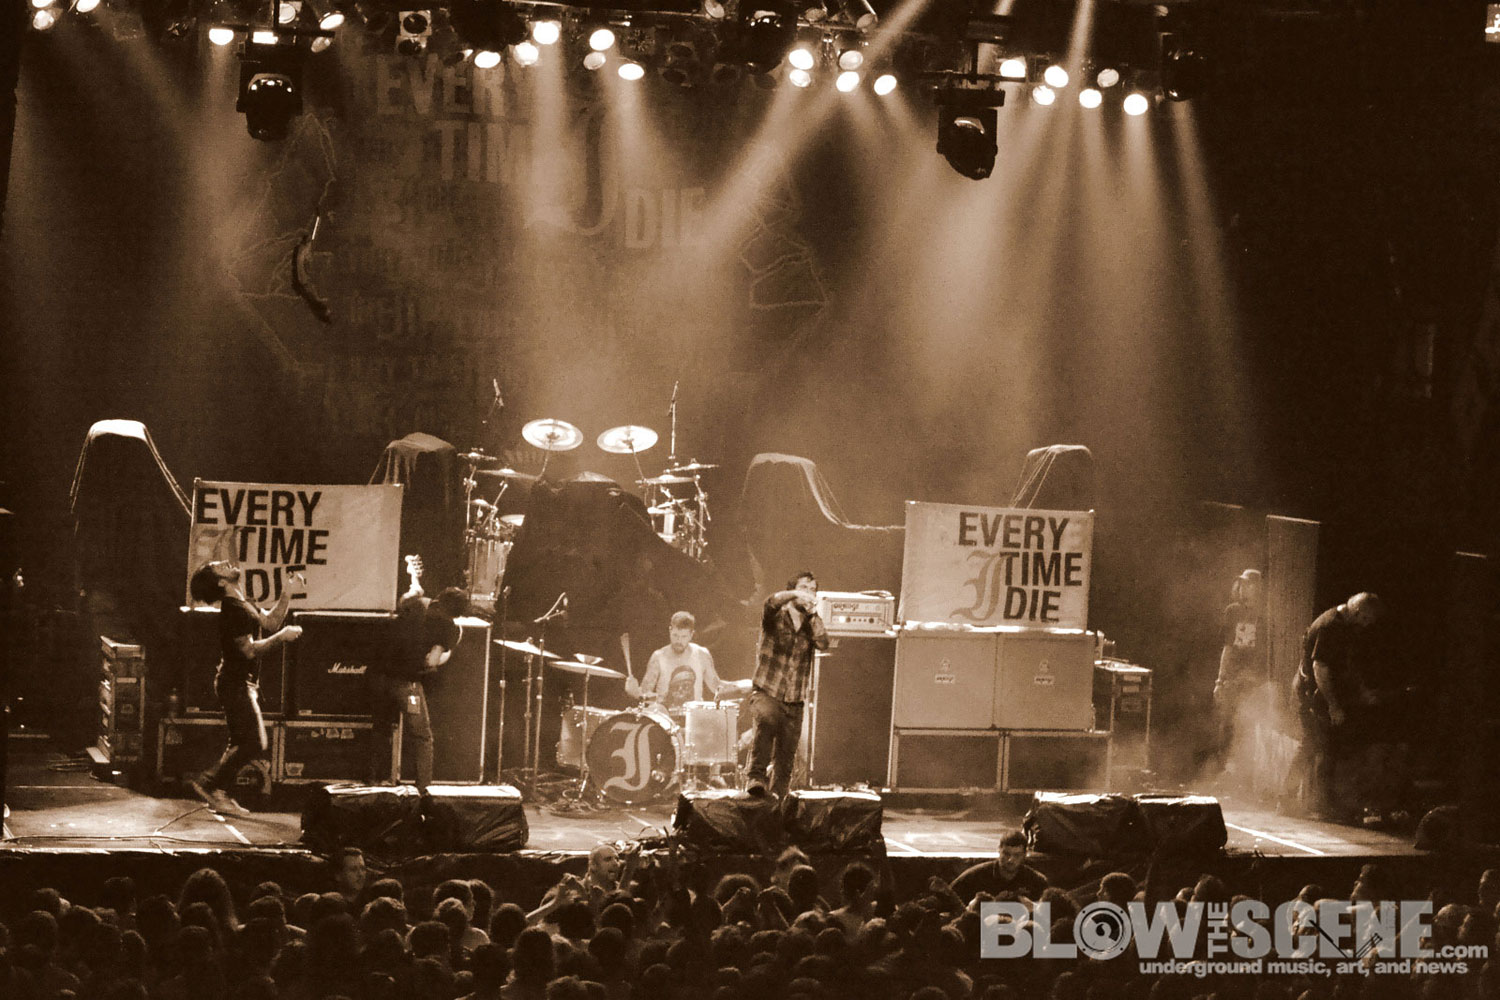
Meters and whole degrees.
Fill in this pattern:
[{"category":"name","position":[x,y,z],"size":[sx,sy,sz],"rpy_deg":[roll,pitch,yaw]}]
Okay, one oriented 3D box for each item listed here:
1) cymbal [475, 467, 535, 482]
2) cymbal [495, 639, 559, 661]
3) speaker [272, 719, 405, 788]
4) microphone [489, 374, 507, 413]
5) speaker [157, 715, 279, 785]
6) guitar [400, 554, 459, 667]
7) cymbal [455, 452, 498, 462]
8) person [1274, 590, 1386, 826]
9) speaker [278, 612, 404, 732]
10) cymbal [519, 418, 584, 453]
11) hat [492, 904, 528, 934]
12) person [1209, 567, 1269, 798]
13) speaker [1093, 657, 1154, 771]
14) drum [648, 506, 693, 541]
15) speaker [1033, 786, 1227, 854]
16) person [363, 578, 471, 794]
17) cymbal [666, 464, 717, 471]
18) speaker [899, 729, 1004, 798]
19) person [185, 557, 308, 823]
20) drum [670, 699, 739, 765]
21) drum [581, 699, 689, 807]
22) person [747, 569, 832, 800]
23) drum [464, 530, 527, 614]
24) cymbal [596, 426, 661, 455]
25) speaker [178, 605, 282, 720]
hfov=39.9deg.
[{"category":"cymbal","position":[-2.714,-0.275,23.180],"size":[0.659,0.157,0.512],"rpy_deg":[1,1,-29]},{"category":"cymbal","position":[-2.336,1.560,21.426],"size":[0.656,0.219,0.520],"rpy_deg":[2,1,22]},{"category":"speaker","position":[-4.184,2.502,20.572],"size":[1.305,0.614,0.685],"rpy_deg":[1,-5,-11]},{"category":"microphone","position":[-2.862,-1.204,23.660],"size":[0.174,0.354,0.038],"rpy_deg":[2,2,-10]},{"category":"speaker","position":[-5.439,2.356,20.927],"size":[1.170,0.750,0.658],"rpy_deg":[1,-6,-5]},{"category":"guitar","position":[-3.229,1.162,20.890],"size":[0.665,1.100,1.063],"rpy_deg":[0,-6,11]},{"category":"cymbal","position":[-3.044,-0.477,23.290],"size":[0.509,0.119,0.299],"rpy_deg":[1,1,-25]},{"category":"person","position":[6.002,2.121,21.417],"size":[0.860,2.311,0.620],"rpy_deg":[2,2,14]},{"category":"speaker","position":[-4.153,1.866,20.606],"size":[1.451,1.379,0.982],"rpy_deg":[2,3,-12]},{"category":"cymbal","position":[-2.257,-0.722,23.662],"size":[0.707,0.392,0.443],"rpy_deg":[2,1,-7]},{"category":"hat","position":[-1.960,3.446,16.902],"size":[0.283,0.249,0.298],"rpy_deg":[2,1,-6]},{"category":"person","position":[5.294,1.891,22.603],"size":[0.527,2.211,0.374],"rpy_deg":[2,2,13]},{"category":"speaker","position":[3.915,2.308,22.024],"size":[0.465,1.183,1.297],"rpy_deg":[1,-1,5]},{"category":"drum","position":[-0.901,0.302,23.481],"size":[0.414,0.355,0.395],"rpy_deg":[3,-5,-29]},{"category":"speaker","position":[3.419,3.040,19.368],"size":[1.146,0.350,0.787],"rpy_deg":[0,-4,-6]},{"category":"person","position":[-3.295,1.841,20.481],"size":[0.881,1.902,0.517],"rpy_deg":[1,2,-22]},{"category":"cymbal","position":[-0.665,-0.367,23.986],"size":[0.384,0.115,0.536],"rpy_deg":[2,1,27]},{"category":"speaker","position":[2.029,2.730,21.419],"size":[1.176,0.531,0.647],"rpy_deg":[1,-4,-8]},{"category":"person","position":[-4.904,1.844,20.260],"size":[1.000,2.441,0.718],"rpy_deg":[2,2,9]},{"category":"drum","position":[-0.402,2.394,21.132],"size":[0.609,0.584,0.608],"rpy_deg":[-2,-6,22]},{"category":"drum","position":[-1.112,2.595,21.165],"size":[1.355,1.292,0.860],"rpy_deg":[0,0,16]},{"category":"person","position":[0.301,1.768,20.016],"size":[0.533,2.077,0.936],"rpy_deg":[4,3,44]},{"category":"drum","position":[-2.875,0.799,22.481],"size":[0.487,0.842,0.397],"rpy_deg":[2,2,6]},{"category":"cymbal","position":[-1.378,-0.682,23.831],"size":[0.701,0.344,0.454],"rpy_deg":[2,1,-6]},{"category":"speaker","position":[-5.046,1.615,20.369],"size":[1.140,1.040,0.604],"rpy_deg":[2,-7,-24]}]
